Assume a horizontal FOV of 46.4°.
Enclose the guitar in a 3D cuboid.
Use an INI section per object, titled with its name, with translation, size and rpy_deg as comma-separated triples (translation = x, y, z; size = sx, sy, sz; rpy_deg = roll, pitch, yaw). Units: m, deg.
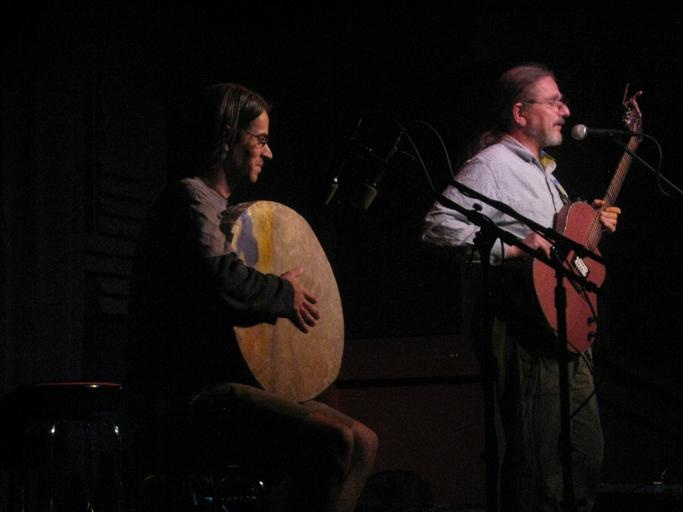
[guitar]
translation = 1.207, -0.173, 4.027
size = 0.178, 1.342, 0.518
rpy_deg = -11, -44, 45
